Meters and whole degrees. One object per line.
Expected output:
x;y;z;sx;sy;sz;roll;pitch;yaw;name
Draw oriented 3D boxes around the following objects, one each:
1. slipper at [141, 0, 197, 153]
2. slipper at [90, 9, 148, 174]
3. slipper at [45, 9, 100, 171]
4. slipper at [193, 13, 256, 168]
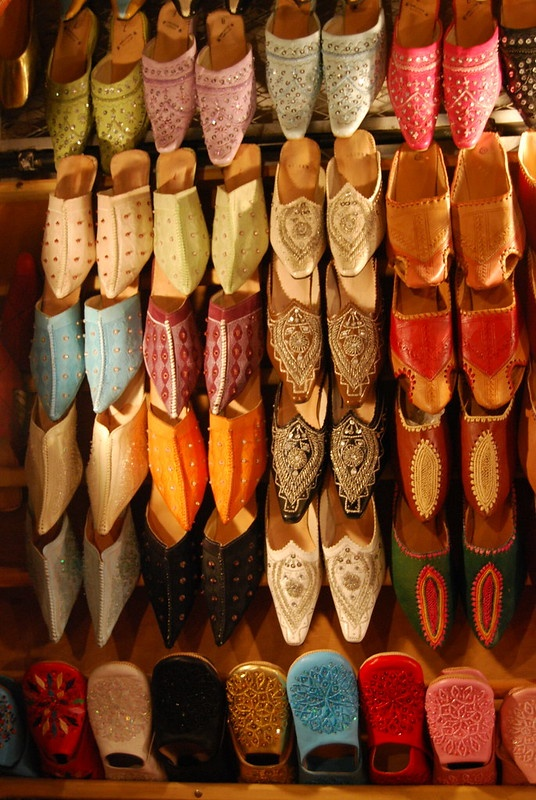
-0.173;-0.555;1.168;0.089;0.324;0.090;2;7;18;slipper
-0.288;-0.614;1.229;0.103;0.365;0.101;3;7;19;slipper
-0.394;-0.613;1.278;0.089;0.355;0.087;2;6;24;slipper
-0.075;-0.523;1.127;0.090;0.319;0.086;-1;6;13;slipper
